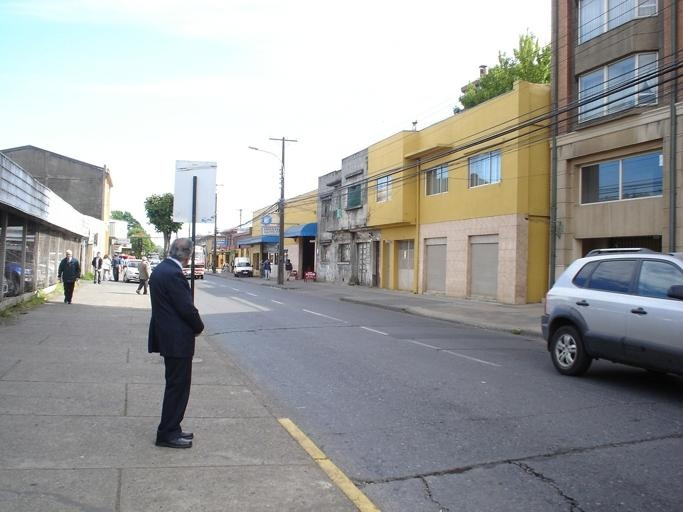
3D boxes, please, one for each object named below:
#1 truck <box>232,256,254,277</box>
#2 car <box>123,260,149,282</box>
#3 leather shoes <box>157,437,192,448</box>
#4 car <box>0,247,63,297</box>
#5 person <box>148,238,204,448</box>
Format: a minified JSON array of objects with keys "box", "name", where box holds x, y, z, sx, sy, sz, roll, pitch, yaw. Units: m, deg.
[{"box":[-8.869,1.098,54.257,0.985,1.231,2.641,-1,-7,-15],"name":"truck"},{"box":[-11.047,0.831,32.250,1.083,1.073,2.068,1,-6,-24],"name":"car"},{"box":[-1.994,2.235,7.191,0.384,0.171,0.164,1,-2,-8],"name":"leather shoes"},{"box":[-10.263,0.576,19.826,2.131,1.169,1.235,-10,-8,39],"name":"car"},{"box":[-2.020,1.027,7.343,0.651,2.490,0.566,5,6,42],"name":"person"}]
